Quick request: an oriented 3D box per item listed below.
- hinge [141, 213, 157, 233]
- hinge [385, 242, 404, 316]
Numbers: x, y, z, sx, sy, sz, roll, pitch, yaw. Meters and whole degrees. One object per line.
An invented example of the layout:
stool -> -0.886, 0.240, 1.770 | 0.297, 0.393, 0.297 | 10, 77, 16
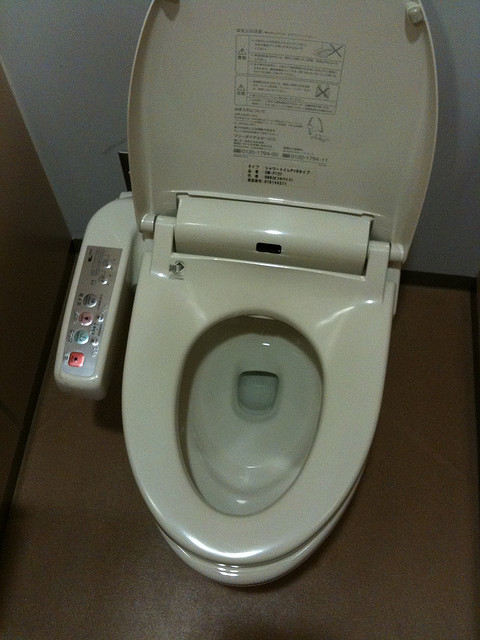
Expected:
hinge -> -0.129, -0.139, 0.690 | 0.019, 0.021, 0.025 | 3, 91, -7
hinge -> 0.234, -0.064, 0.730 | 0.029, 0.113, 0.024 | 8, 58, 11
